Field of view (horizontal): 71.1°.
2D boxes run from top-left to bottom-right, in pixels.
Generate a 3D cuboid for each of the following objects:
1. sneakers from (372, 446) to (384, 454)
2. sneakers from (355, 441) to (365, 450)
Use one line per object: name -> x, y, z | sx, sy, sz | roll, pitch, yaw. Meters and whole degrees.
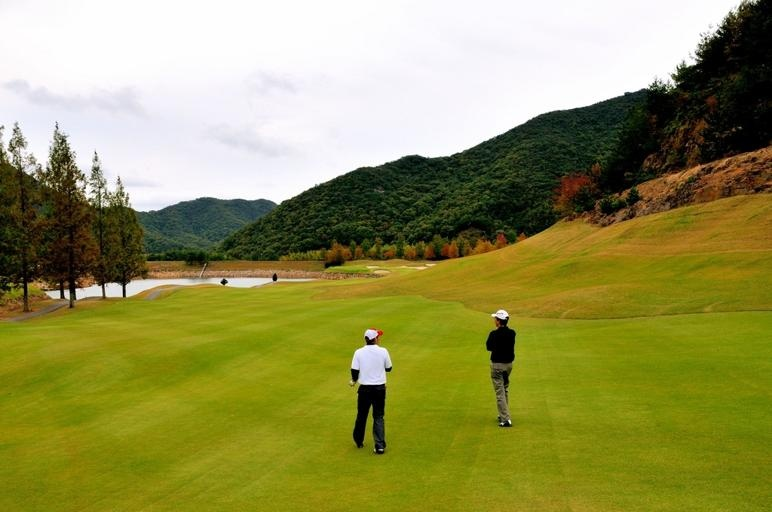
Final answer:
sneakers -> -0.196, 6.360, 17.742 | 0.279, 0.103, 0.267 | 3, -6, 2
sneakers -> -0.865, 6.264, 17.996 | 0.142, 0.221, 0.488 | 4, -5, 12
